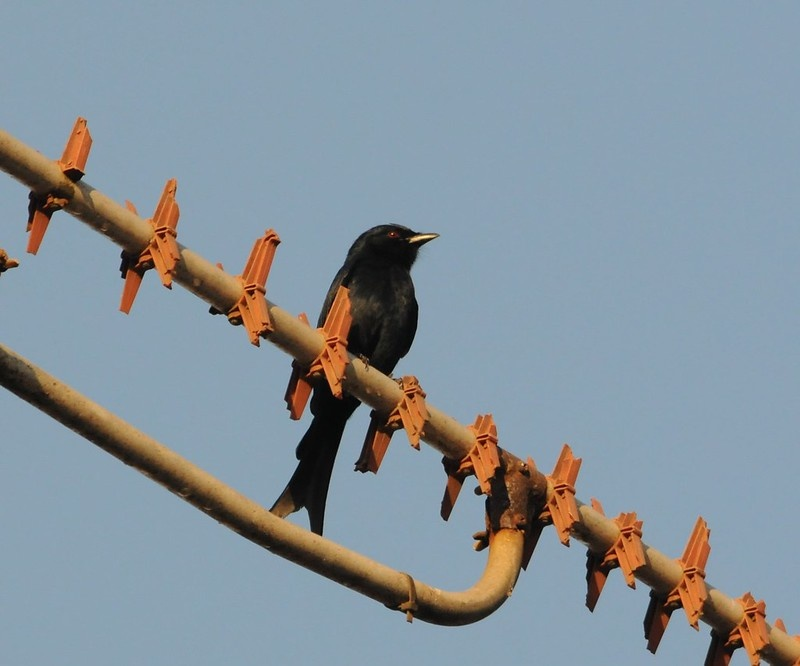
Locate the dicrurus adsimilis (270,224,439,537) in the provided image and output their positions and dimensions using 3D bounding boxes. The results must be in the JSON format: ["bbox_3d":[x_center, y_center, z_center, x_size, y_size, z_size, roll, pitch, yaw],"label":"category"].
[{"bbox_3d":[-0.352,0.327,16.582,0.548,1.762,1.095,29,12,-30],"label":"dicrurus adsimilis"}]
